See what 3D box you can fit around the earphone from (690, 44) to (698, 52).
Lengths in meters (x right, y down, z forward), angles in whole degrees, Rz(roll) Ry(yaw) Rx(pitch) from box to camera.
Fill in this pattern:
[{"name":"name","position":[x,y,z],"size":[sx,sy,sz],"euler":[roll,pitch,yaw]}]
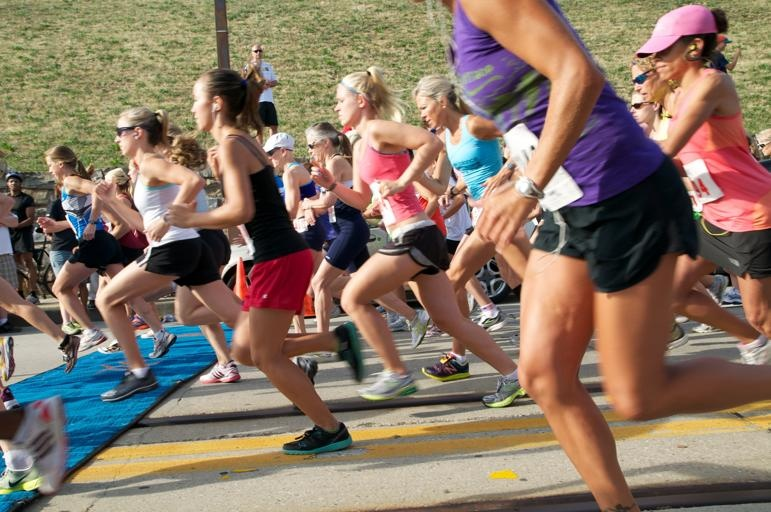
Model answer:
[{"name":"earphone","position":[1.923,-1.308,3.952],"size":[0.054,0.040,0.014],"euler":[5,20,12]}]

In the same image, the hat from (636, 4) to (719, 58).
[{"name":"hat","position":[1.832,-1.408,3.989],"size":[0.484,0.179,0.271],"euler":[-10,14,6]}]

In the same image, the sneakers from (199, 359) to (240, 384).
[{"name":"sneakers","position":[-1.635,1.140,6.031],"size":[0.502,0.170,0.164],"euler":[-3,-8,12]}]

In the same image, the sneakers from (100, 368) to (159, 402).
[{"name":"sneakers","position":[-2.235,1.166,5.692],"size":[0.570,0.186,0.194],"euler":[-10,1,-31]}]

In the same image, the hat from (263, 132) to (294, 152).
[{"name":"hat","position":[-1.195,-1.291,7.185],"size":[0.510,0.192,0.320],"euler":[-1,6,-1]}]

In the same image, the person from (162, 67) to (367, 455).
[{"name":"person","position":[-0.829,0.029,4.262],"size":[0.847,2.655,0.706],"euler":[-8,6,-7]}]

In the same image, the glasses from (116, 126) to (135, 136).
[{"name":"glasses","position":[-2.256,-1.083,5.484],"size":[0.211,0.075,0.066],"euler":[-1,7,26]}]

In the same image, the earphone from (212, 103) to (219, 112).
[{"name":"earphone","position":[-1.160,-1.019,4.339],"size":[0.062,0.045,0.014],"euler":[-3,3,-6]}]
